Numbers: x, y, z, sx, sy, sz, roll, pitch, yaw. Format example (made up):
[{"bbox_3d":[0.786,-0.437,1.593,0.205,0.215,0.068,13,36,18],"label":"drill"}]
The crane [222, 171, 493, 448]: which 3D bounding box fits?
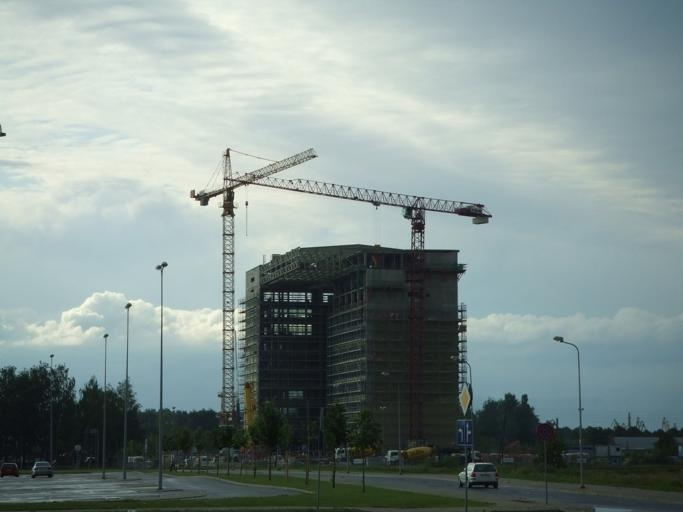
[{"bbox_3d":[9.826,19.490,326.969,45.865,65.011,62.583,3,-5,-27],"label":"crane"}]
